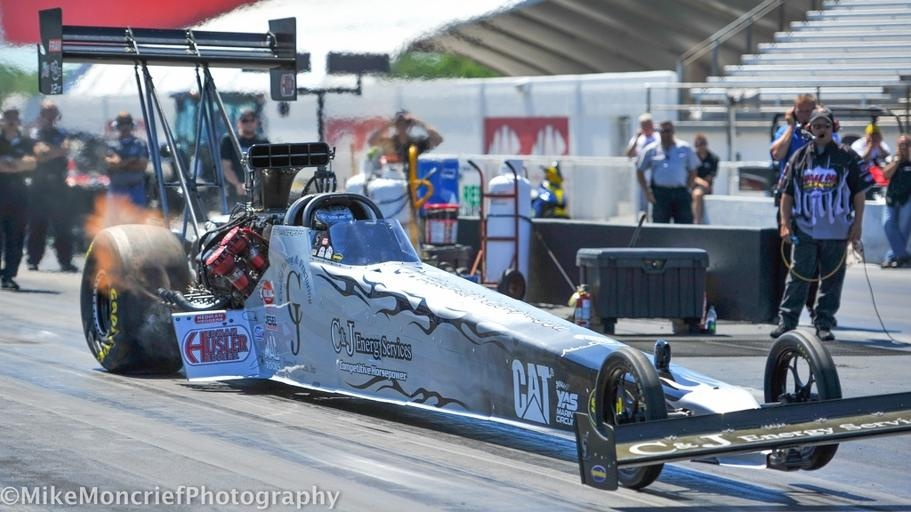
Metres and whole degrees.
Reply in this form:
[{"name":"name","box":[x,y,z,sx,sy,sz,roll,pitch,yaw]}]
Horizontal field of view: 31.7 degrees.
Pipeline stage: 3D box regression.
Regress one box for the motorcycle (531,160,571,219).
[{"name":"motorcycle","box":[1.753,-1.121,30.083,0.778,1.271,0.504,1,-3,16]}]

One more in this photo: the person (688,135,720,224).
[{"name":"person","box":[4.465,-1.424,29.346,0.490,1.872,0.572,0,2,-40]}]

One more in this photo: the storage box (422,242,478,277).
[{"name":"storage box","box":[-0.144,0.069,26.778,0.636,0.394,0.571,0,4,-16]}]

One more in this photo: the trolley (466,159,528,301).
[{"name":"trolley","box":[0.701,-0.295,26.833,1.343,2.606,1.231,1,2,-11]}]

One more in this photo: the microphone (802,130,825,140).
[{"name":"microphone","box":[5.314,-1.795,23.805,0.181,0.081,0.241,11,4,-14]}]

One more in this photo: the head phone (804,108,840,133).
[{"name":"head phone","box":[5.391,-2.016,23.784,0.355,0.232,0.546,-3,-5,23]}]

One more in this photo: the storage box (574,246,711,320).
[{"name":"storage box","box":[2.796,0.398,25.383,2.140,1.138,1.296,-2,7,-22]}]
